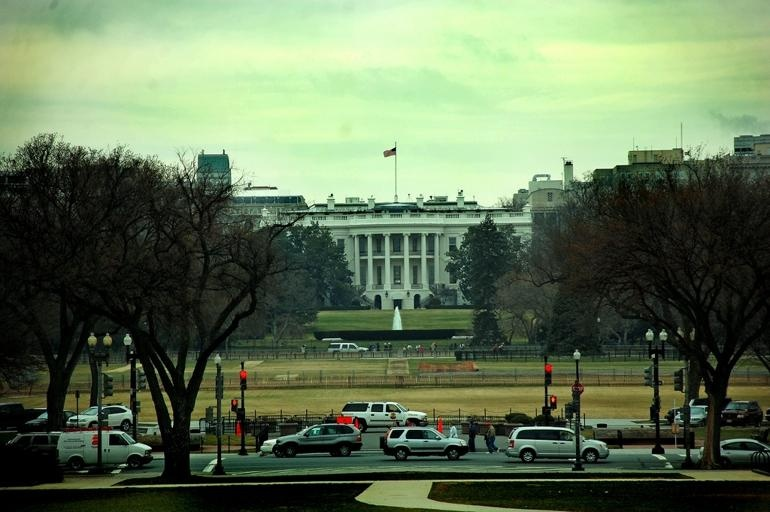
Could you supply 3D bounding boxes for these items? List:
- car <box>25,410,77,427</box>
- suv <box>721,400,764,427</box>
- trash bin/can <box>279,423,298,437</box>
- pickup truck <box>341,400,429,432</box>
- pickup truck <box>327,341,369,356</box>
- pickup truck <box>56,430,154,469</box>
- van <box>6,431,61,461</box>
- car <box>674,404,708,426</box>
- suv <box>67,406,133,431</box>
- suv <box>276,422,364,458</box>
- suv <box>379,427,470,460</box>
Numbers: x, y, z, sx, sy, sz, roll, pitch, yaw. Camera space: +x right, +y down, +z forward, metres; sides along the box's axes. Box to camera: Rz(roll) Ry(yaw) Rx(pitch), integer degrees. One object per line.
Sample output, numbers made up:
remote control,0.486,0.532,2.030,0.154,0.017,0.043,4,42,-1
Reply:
car,-21.473,10.683,97.839,3.123,1.098,1.475,1,-4,-18
suv,23.631,10.379,101.207,1.860,1.524,3.131,-7,-14,34
trash bin/can,-6.048,10.923,95.673,0.865,0.509,0.849,0,2,-1
pickup truck,-0.372,10.248,100.323,4.933,1.976,2.425,0,-7,-2
pickup truck,-3.910,9.519,153.635,3.013,1.236,1.568,-2,-2,15
pickup truck,-15.817,11.177,87.537,5.467,2.099,2.887,-2,-2,7
van,-19.865,10.797,86.005,2.820,1.389,1.688,6,-5,1
car,20.004,10.419,99.494,2.087,1.253,3.550,-2,-8,13
suv,-18.408,10.938,99.010,4.901,1.712,2.154,3,-5,-25
suv,-3.880,10.932,89.906,4.782,1.866,0.858,-3,-3,0
suv,2.289,11.049,88.922,4.397,1.615,2.037,-1,-4,-1
